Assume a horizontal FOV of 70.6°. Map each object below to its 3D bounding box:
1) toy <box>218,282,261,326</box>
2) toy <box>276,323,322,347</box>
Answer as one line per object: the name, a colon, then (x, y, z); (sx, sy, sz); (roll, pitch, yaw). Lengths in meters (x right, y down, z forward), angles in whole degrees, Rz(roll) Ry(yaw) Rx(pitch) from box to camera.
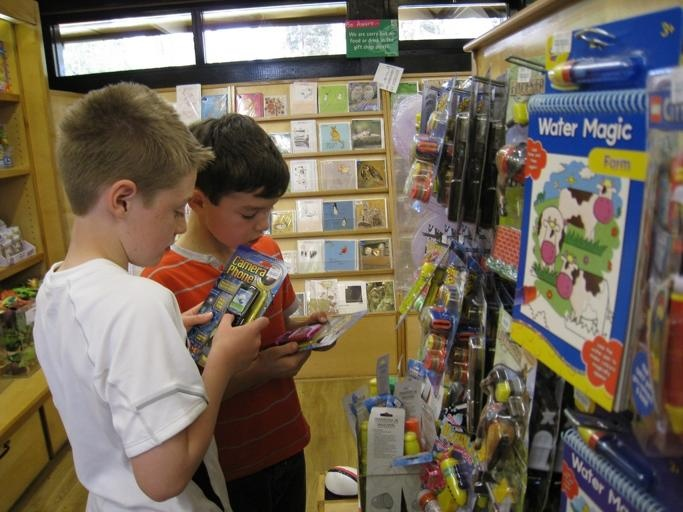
toy: (-0.292, 0.141, 1.385); (0.066, 0.159, 0.025); (17, -23, 15)
toy: (-0.126, 0.258, 1.613); (0.133, 0.045, 0.146); (4, 14, 28)
